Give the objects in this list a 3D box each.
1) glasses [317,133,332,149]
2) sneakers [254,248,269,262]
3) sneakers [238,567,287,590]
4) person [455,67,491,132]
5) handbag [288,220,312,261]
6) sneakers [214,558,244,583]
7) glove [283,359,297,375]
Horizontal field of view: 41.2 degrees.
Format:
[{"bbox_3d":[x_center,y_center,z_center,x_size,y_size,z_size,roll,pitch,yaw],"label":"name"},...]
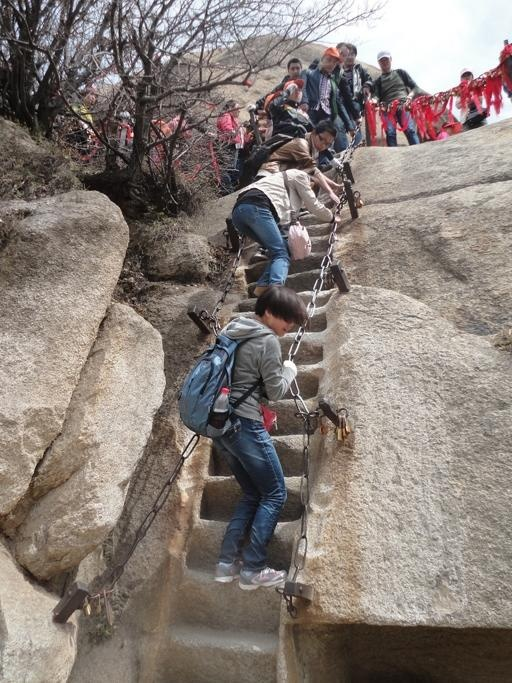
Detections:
[{"bbox_3d":[0.539,-1.541,5.244,0.074,0.087,0.086,5,4,-11],"label":"glasses"},{"bbox_3d":[0.038,-0.760,6.020,0.122,0.111,0.122,20,9,34],"label":"sneakers"},{"bbox_3d":[0.031,1.181,3.470,0.284,0.118,0.092,-3,4,-2],"label":"sneakers"},{"bbox_3d":[2.307,-2.617,7.384,0.289,0.670,1.126,-12,11,20],"label":"person"},{"bbox_3d":[0.301,-0.719,4.907,0.158,0.284,0.385,-15,11,5],"label":"handbag"},{"bbox_3d":[-0.136,1.185,3.509,0.071,0.075,0.179,-4,-19,22],"label":"sneakers"},{"bbox_3d":[0.179,0.122,3.554,0.033,0.081,0.060,-35,-27,-13],"label":"glove"}]
